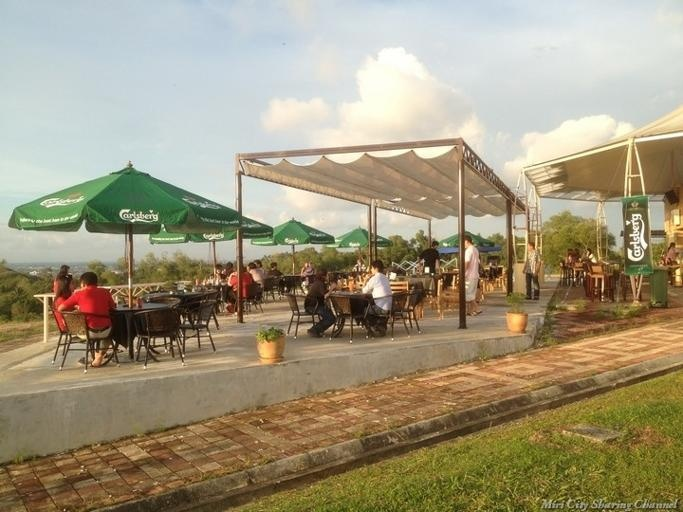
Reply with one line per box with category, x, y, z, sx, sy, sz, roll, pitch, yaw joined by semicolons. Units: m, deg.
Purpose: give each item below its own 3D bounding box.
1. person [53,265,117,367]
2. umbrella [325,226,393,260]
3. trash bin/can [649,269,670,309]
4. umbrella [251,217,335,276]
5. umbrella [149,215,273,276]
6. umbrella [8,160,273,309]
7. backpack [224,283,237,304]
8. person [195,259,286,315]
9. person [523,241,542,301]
person;-4.183;1.079;9.584;0.736;1.594;0.433;-6;8;-22
umbrella;1.015;-0.700;25.065;1.762;0.993;1.778;5;8;38
trash bin/can;9.107;0.874;16.381;0.431;1.082;0.778;1;8;27
umbrella;-2.056;-0.541;21.899;2.164;1.895;2.382;3;3;23
umbrella;-4.087;0.186;17.126;2.186;1.699;2.238;-3;-7;20
umbrella;-3.895;-0.482;10.770;2.913;2.546;3.266;0;8;19
backpack;-2.950;1.081;15.555;0.453;0.490;0.352;0;1;-15
person;-2.698;0.806;15.488;1.257;1.553;0.562;2;7;-32
person;6.305;0.530;18.972;0.472;2.003;1.250;0;8;17
